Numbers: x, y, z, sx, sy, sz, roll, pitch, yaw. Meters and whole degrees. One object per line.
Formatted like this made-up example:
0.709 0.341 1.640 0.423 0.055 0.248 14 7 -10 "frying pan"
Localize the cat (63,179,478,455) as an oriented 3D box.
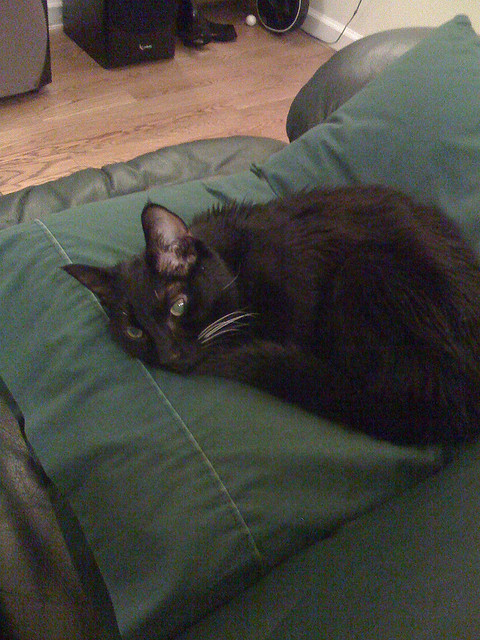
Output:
0.042 0.036 0.659 0.315 0.144 0.259 -9 42 -21 "cat"
